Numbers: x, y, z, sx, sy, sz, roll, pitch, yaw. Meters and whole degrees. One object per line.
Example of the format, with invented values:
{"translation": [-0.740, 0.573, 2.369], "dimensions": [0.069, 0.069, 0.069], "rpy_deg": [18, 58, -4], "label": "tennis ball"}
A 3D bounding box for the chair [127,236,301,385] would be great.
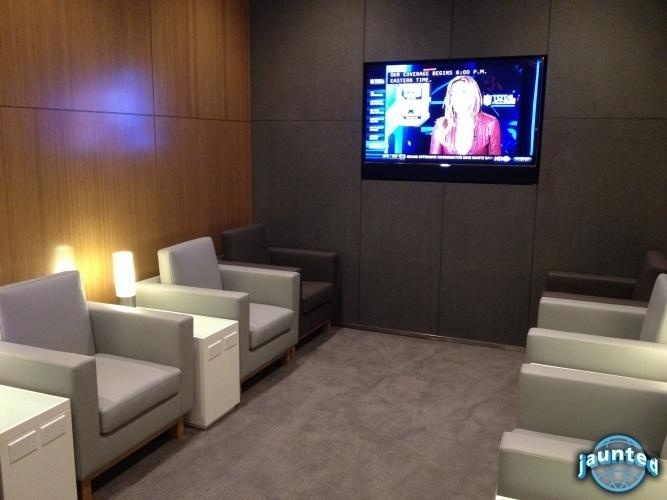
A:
{"translation": [-0.902, 0.379, 4.512], "dimensions": [1.143, 1.383, 1.205], "rpy_deg": [4, 10, 26], "label": "chair"}
